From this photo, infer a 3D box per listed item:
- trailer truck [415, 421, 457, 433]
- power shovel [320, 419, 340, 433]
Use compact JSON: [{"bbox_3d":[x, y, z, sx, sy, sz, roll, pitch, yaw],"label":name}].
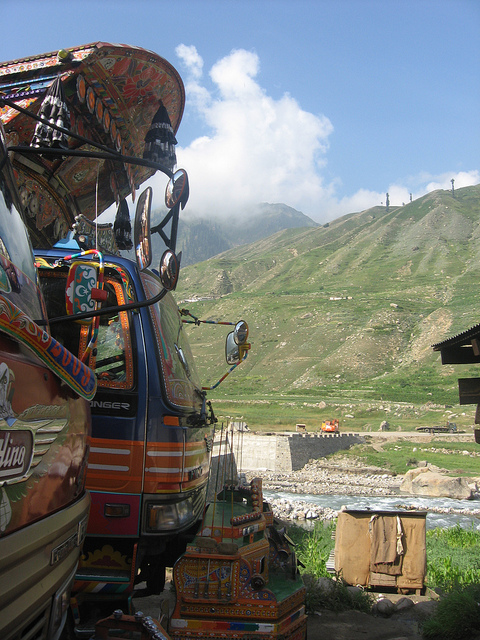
[{"bbox_3d":[21.277,11.520,61.173,3.697,0.647,2.584,-1,1,19],"label":"trailer truck"},{"bbox_3d":[9.556,11.232,60.886,1.472,1.199,2.634,-1,-10,6],"label":"power shovel"}]
